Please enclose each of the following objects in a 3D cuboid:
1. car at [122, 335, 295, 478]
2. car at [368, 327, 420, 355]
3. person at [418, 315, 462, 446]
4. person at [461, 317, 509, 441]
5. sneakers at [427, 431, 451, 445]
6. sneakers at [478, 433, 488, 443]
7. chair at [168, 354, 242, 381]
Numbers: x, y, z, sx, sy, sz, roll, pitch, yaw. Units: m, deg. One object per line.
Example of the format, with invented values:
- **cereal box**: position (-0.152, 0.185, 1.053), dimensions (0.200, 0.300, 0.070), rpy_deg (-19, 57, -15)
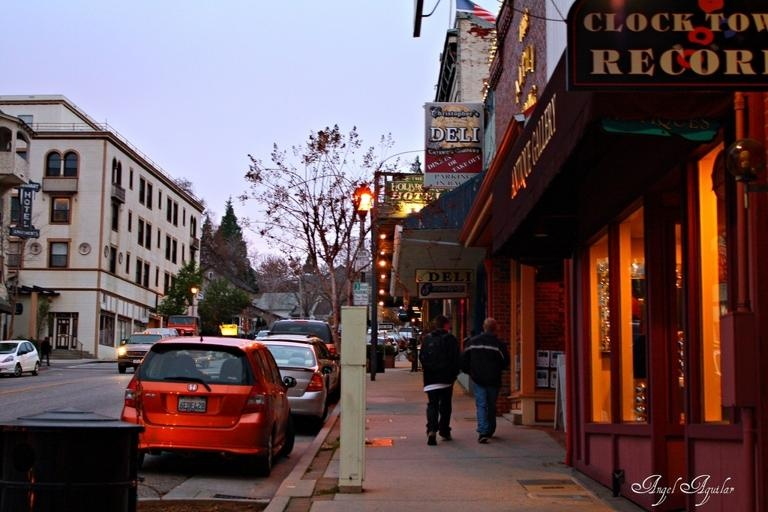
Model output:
- **car**: position (-2.460, 2.039, 12.365), dimensions (1.476, 1.196, 2.483), rpy_deg (0, -5, 2)
- **car**: position (0.765, 6.039, 69.130), dimensions (3.047, 2.500, 5.611), rpy_deg (0, -10, 4)
- **person**: position (0.959, 2.092, 15.198), dimensions (0.686, 2.246, 1.079), rpy_deg (1, -9, 3)
- **person**: position (1.713, 2.096, 15.013), dimensions (0.801, 2.086, 0.505), rpy_deg (1, -9, -1)
- **sneakers**: position (0.908, 3.063, 14.887), dimensions (0.168, 0.229, 0.525), rpy_deg (-1, -3, 20)
- **sneakers**: position (1.658, 3.049, 14.747), dimensions (0.163, 0.134, 0.233), rpy_deg (0, -10, 6)
- **chair**: position (-2.455, 1.616, 12.615), dimensions (0.733, 0.373, 0.447), rpy_deg (10, -8, 1)
